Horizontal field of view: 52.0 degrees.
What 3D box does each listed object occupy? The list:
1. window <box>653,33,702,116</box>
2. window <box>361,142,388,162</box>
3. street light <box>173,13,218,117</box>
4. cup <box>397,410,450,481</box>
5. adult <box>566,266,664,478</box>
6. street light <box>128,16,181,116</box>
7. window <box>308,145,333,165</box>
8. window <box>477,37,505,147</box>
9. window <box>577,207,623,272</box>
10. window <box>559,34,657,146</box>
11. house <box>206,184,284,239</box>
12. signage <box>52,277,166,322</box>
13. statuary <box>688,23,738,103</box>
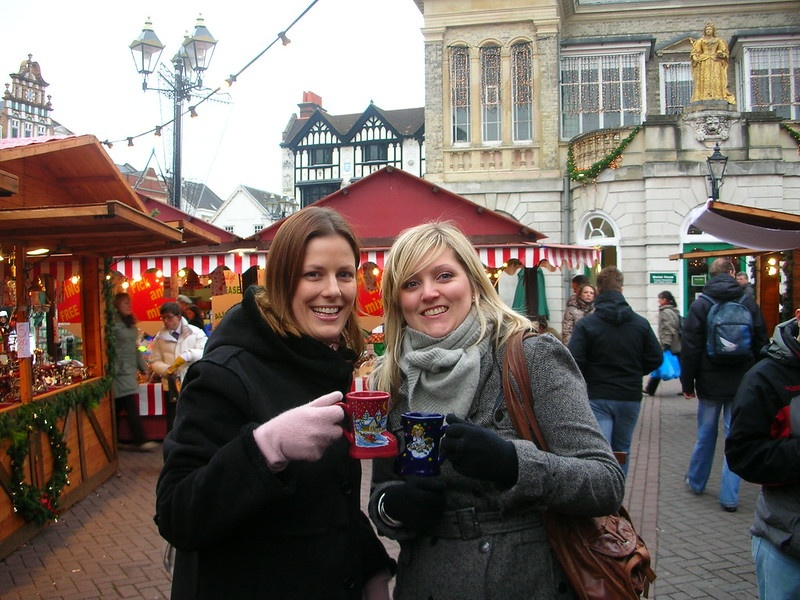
[{"bbox_3d":[7.757,-5.964,22.228,1.322,2.207,0.364,3,31,19],"label":"window"},{"bbox_3d":[-1.253,-7.676,42.689,1.149,0.839,0.125,5,7,41],"label":"window"},{"bbox_3d":[-3.783,-4.724,15.662,0.517,1.616,0.574,-1,9,-27],"label":"street light"},{"bbox_3d":[0.122,0.829,4.671,0.282,0.373,0.226,-2,5,4],"label":"cup"},{"bbox_3d":[2.329,0.971,8.877,0.901,2.573,0.784,1,13,10],"label":"adult"},{"bbox_3d":[-4.956,-4.846,16.064,0.742,1.386,0.724,0,-5,16],"label":"street light"},{"bbox_3d":[-4.226,-7.778,44.314,1.050,0.815,0.129,0,-3,16],"label":"window"},{"bbox_3d":[2.471,-5.486,21.843,0.606,2.815,0.128,2,41,9],"label":"window"},{"bbox_3d":[4.731,-1.321,19.635,1.025,1.464,0.046,-2,-1,28],"label":"window"},{"bbox_3d":[5.389,-5.439,21.460,3.206,3.412,0.728,0,1,5],"label":"window"},{"bbox_3d":[-9.105,-5.386,50.759,4.376,3.260,5.326,-5,9,0],"label":"house"},{"bbox_3d":[-5.558,0.064,15.878,1.904,1.221,0.032,1,27,-13],"label":"signage"},{"bbox_3d":[7.209,-5.419,18.910,0.985,1.951,0.530,2,-13,17],"label":"statuary"}]
